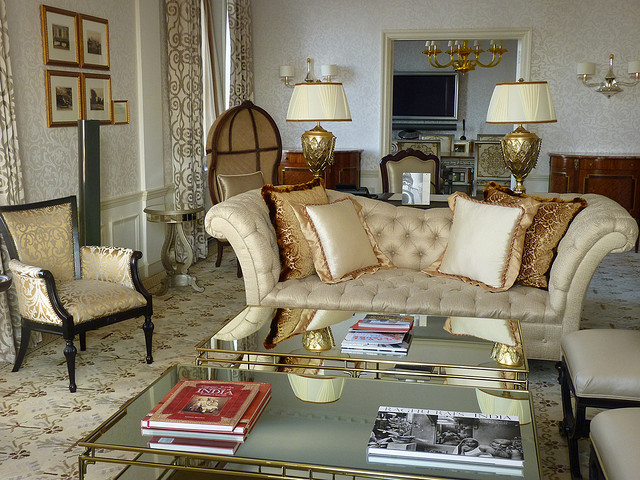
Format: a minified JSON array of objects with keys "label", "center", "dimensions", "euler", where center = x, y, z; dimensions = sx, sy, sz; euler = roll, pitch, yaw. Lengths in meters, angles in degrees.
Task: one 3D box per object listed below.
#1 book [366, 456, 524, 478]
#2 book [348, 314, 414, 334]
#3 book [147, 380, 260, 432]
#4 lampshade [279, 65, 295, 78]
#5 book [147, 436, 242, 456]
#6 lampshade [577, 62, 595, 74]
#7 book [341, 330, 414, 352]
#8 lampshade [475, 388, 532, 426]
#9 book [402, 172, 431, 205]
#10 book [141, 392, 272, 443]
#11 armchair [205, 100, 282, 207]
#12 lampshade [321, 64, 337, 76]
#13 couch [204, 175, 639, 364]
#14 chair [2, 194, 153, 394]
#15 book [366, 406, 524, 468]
[{"label":"book","center":[0.385,0.699,1.444],"dimensions":[0.468,0.034,0.037],"euler":[2,14,8]},{"label":"book","center":[0.312,0.416,2.346],"dimensions":[0.308,0.042,0.261],"euler":[2,13,8]},{"label":"book","center":[-0.390,0.580,1.661],"dimensions":[0.295,0.043,0.281],"euler":[2,13,10]},{"label":"lampshade","center":[-0.459,-2.455,6.854],"dimensions":[0.214,0.201,0.199],"euler":[0,2,10]},{"label":"book","center":[-0.411,0.666,1.530],"dimensions":[0.297,0.029,0.063],"euler":[2,14,8]},{"label":"lampshade","center":[3.286,-2.107,5.793],"dimensions":[0.196,0.105,0.179],"euler":[-2,7,-1]},{"label":"book","center":[0.286,0.463,2.233],"dimensions":[0.320,0.033,0.251],"euler":[2,13,10]},{"label":"lampshade","center":[0.704,0.630,1.795],"dimensions":[0.164,0.054,0.180],"euler":[6,8,25]},{"label":"book","center":[0.806,-0.414,3.820],"dimensions":[0.267,0.232,0.063],"euler":[2,-3,17]},{"label":"book","center":[-0.393,0.643,1.721],"dimensions":[0.393,0.046,0.441],"euler":[4,7,8]},{"label":"armchair","center":[-0.815,-1.004,5.131],"dimensions":[0.781,1.365,0.704],"euler":[-5,11,-25]},{"label":"lampshade","center":[0.149,-2.451,6.746],"dimensions":[0.227,0.184,0.271],"euler":[0,14,1]},{"label":"couch","center":[0.645,0.225,3.083],"dimensions":[2.448,1.168,1.027],"euler":[2,15,10]},{"label":"chair","center":[-1.554,0.302,3.037],"dimensions":[0.759,1.073,0.746],"euler":[11,19,36]},{"label":"book","center":[0.414,0.656,1.567],"dimensions":[0.502,0.038,0.365],"euler":[0,4,6]}]
